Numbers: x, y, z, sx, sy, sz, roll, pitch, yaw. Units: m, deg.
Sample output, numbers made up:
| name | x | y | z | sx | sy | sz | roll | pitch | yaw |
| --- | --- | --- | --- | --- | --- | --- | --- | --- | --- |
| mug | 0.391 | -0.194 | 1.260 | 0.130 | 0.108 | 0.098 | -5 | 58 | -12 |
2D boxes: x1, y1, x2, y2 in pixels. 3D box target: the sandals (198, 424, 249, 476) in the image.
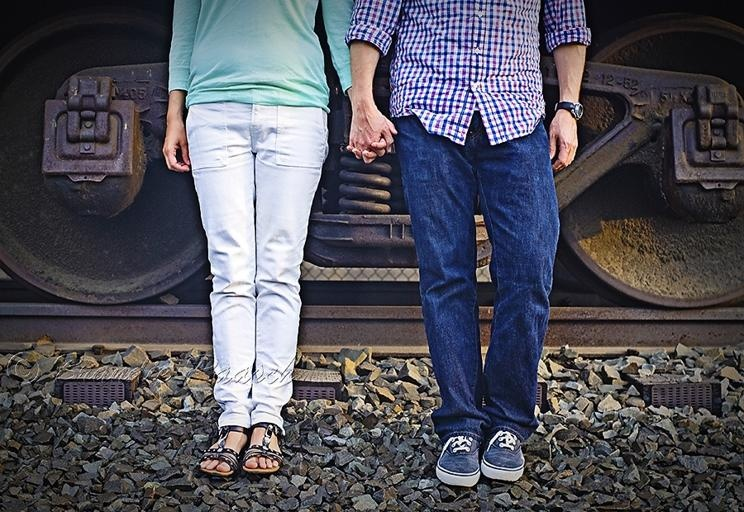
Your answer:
| name | x | y | z | sx | sy | sz | roll | pitch | yaw |
| --- | --- | --- | --- | --- | --- | --- | --- | --- | --- |
| sandals | -0.767 | 0.991 | 4.035 | 0.200 | 0.233 | 0.521 | 5 | -2 | 0 |

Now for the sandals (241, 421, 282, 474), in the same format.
| name | x | y | z | sx | sy | sz | roll | pitch | yaw |
| --- | --- | --- | --- | --- | --- | --- | --- | --- | --- |
| sandals | -0.560 | 0.976 | 4.062 | 0.196 | 0.193 | 0.518 | 5 | 6 | -5 |

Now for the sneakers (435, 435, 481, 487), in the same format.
| name | x | y | z | sx | sy | sz | roll | pitch | yaw |
| --- | --- | --- | --- | --- | --- | --- | --- | --- | --- |
| sneakers | 0.457 | 1.013 | 3.934 | 0.219 | 0.160 | 0.413 | 1 | 12 | 17 |

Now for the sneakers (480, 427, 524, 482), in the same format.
| name | x | y | z | sx | sy | sz | roll | pitch | yaw |
| --- | --- | --- | --- | --- | --- | --- | --- | --- | --- |
| sneakers | 0.684 | 0.994 | 3.951 | 0.190 | 0.177 | 0.394 | 6 | 9 | 8 |
